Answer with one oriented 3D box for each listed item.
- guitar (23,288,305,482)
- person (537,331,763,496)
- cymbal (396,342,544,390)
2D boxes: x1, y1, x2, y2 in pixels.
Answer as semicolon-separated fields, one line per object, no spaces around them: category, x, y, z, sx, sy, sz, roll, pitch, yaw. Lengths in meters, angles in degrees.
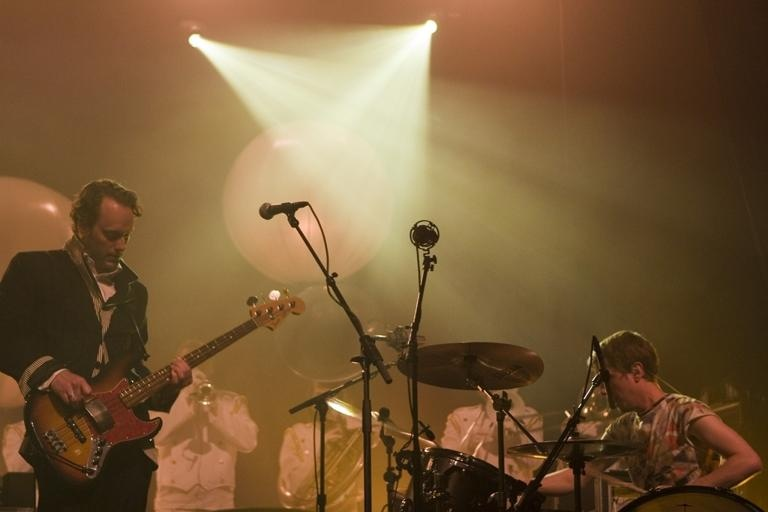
guitar;-2.243;1.228;7.516;3.095;0.338;1.119;-30;-72;-5
person;2.657;1.465;6.609;1.182;1.390;0.702;-4;-37;21
cymbal;0.787;1.092;6.585;1.078;0.644;0.923;-3;2;-20
